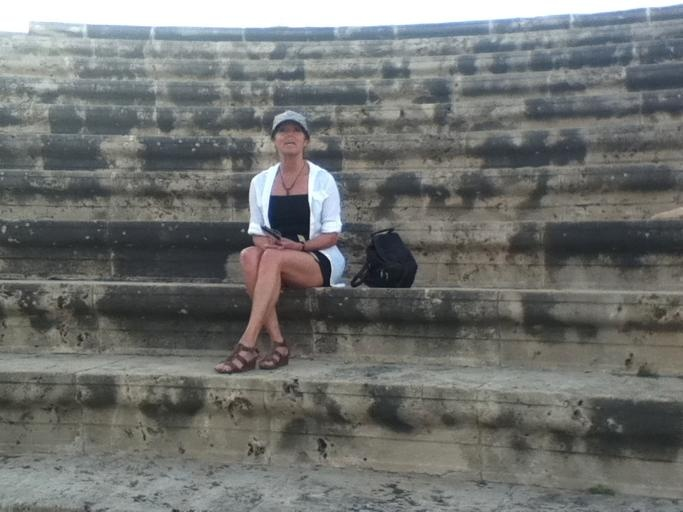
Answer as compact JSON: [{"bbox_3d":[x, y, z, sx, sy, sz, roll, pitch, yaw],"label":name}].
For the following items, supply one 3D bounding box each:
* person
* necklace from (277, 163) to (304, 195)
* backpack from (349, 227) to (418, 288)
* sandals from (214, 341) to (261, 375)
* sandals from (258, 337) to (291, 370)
[{"bbox_3d":[-0.446,-0.154,7.721,0.735,1.810,1.004,0,0,18],"label":"person"},{"bbox_3d":[-0.398,-0.613,8.020,0.301,0.328,0.040,1,-29,4],"label":"necklace"},{"bbox_3d":[0.319,0.024,8.010,0.387,0.496,0.523,-17,28,-34],"label":"backpack"},{"bbox_3d":[-0.734,0.753,7.283,0.334,0.180,0.164,-1,3,-33],"label":"sandals"},{"bbox_3d":[-0.475,0.744,7.407,0.133,0.151,0.278,-2,-5,33],"label":"sandals"}]
